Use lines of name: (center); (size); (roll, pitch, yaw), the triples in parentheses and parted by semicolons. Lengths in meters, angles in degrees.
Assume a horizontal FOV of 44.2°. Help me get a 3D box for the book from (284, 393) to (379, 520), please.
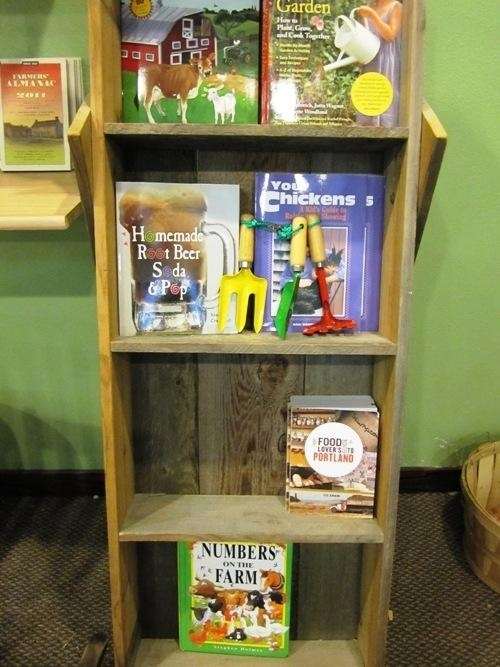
book: (0.201, 0.306, 1.483); (0.298, 0.339, 0.124); (0, 8, 3)

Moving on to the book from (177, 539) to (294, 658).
book: (-0.038, 0.684, 1.617); (0.292, 0.325, 0.033); (1, 9, -1)

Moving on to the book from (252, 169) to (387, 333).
book: (0.158, -0.197, 1.445); (0.392, 0.499, 0.043); (0, 7, -2)

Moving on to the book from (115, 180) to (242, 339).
book: (-0.172, -0.171, 1.397); (0.372, 0.472, 0.004); (0, 7, -4)
